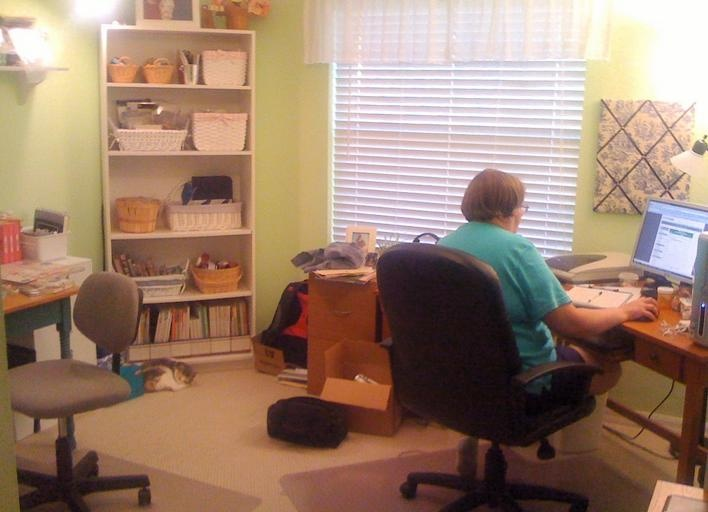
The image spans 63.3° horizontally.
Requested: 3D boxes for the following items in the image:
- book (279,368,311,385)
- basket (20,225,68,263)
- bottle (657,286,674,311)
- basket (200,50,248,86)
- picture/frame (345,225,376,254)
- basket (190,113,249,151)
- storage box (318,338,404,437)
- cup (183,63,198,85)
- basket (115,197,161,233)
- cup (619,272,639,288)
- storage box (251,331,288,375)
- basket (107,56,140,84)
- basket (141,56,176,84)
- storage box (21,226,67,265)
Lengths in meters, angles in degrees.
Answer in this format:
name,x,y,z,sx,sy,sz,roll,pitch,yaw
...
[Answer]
name,x,y,z,sx,sy,sz,roll,pitch,yaw
book,-0.391,0.814,3.854,0.150,0.050,0.147,4,5,16
basket,-1.786,-0.080,3.300,0.177,0.134,0.229,1,-1,36
bottle,1.548,0.209,2.913,0.096,0.097,0.097,10,22,44
basket,-0.886,-1.258,3.937,0.310,0.204,0.237,-1,8,-21
picture/frame,0.038,-0.105,3.780,0.188,0.203,0.014,2,-15,11
basket,-0.921,-0.852,3.940,0.348,0.258,0.085,-1,11,-6
storage box,0.068,0.751,3.541,0.493,0.430,0.642,3,22,8
cup,-1.099,-1.219,3.856,0.094,0.144,0.081,-3,12,-15
basket,-1.499,-0.293,3.966,0.277,0.181,0.280,8,9,37
cup,1.472,0.127,3.101,0.089,0.057,0.075,-19,28,-27
storage box,-0.564,0.684,4.097,0.264,0.251,0.263,11,7,22
basket,-1.495,-1.198,3.776,0.212,0.164,0.204,2,8,7
basket,-1.274,-1.237,3.851,0.245,0.165,0.234,7,11,35
storage box,-1.776,-0.057,3.273,0.178,0.134,0.228,6,11,25
